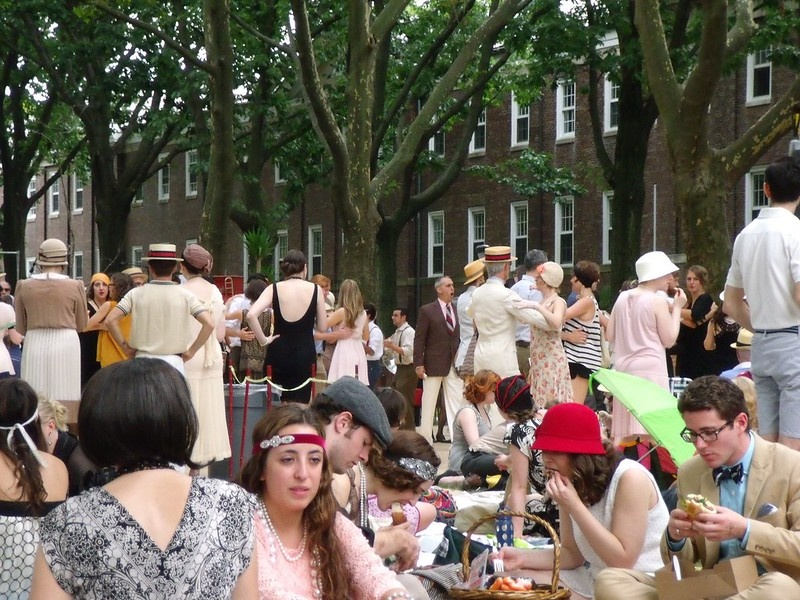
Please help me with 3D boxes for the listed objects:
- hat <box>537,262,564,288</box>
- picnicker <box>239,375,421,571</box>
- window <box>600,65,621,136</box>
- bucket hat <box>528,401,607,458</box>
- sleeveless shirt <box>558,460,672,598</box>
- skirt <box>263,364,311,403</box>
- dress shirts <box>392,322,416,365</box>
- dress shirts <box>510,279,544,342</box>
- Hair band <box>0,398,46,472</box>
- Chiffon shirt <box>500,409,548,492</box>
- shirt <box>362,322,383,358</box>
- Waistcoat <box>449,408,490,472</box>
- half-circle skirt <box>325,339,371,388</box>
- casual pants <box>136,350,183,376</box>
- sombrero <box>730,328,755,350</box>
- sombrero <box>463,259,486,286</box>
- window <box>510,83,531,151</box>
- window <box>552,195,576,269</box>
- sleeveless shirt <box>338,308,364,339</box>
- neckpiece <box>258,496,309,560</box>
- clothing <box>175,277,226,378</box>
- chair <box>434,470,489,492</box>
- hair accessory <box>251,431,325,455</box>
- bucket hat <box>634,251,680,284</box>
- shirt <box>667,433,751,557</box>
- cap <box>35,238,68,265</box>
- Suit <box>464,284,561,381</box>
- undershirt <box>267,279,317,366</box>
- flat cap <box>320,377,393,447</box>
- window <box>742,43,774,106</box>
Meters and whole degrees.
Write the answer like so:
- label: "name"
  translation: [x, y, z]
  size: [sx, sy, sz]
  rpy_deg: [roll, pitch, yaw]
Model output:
- label: "hat"
  translation: [1.828, -0.262, 17.552]
  size: [0.314, 0.257, 0.162]
  rpy_deg: [37, -32, -25]
- label: "picnicker"
  translation: [-0.339, 1.531, 12.550]
  size: [1.249, 1.479, 1.068]
  rpy_deg: [21, -15, -34]
- label: "window"
  translation: [5.363, -4.896, 37.123]
  size: [0.377, 1.524, 0.944]
  rpy_deg: [-2, -4, 10]
- label: "bucket hat"
  translation: [1.461, 1.130, 12.455]
  size: [0.492, 0.277, 0.410]
  rpy_deg: [14, -4, -26]
- label: "sleeveless shirt"
  translation: [1.894, 2.120, 13.163]
  size: [0.992, 1.511, 1.308]
  rpy_deg: [2, -5, -9]
- label: "skirt"
  translation: [-1.408, 1.008, 17.630]
  size: [0.398, 0.580, 0.303]
  rpy_deg: [2, 3, 2]
- label: "dress shirts"
  translation: [0.054, 0.648, 21.784]
  size: [0.403, 0.732, 0.769]
  rpy_deg: [1, -1, -3]
- label: "dress shirts"
  translation: [1.555, 0.118, 17.805]
  size: [0.244, 0.688, 0.704]
  rpy_deg: [-5, 7, -22]
- label: "Hair band"
  translation: [-3.259, 1.186, 12.391]
  size: [0.319, 0.498, 0.134]
  rpy_deg: [-26, -5, -12]
- label: "Chiffon shirt"
  translation: [1.152, 1.520, 14.102]
  size: [0.463, 0.638, 0.647]
  rpy_deg: [-3, 4, 15]
- label: "shirt"
  translation: [-0.421, 0.640, 21.525]
  size: [0.335, 0.590, 0.700]
  rpy_deg: [-4, 1, -11]
- label: "Waistcoat"
  translation: [0.911, 1.503, 16.120]
  size: [0.364, 0.592, 0.395]
  rpy_deg: [21, 22, 22]
- label: "half-circle skirt"
  translation: [-0.736, 0.832, 19.420]
  size: [0.681, 0.821, 0.541]
  rpy_deg: [3, -9, -14]
- label: "casual pants"
  translation: [-2.107, 0.539, 12.508]
  size: [0.196, 0.227, 0.207]
  rpy_deg: [1, 3, 7]
- label: "sombrero"
  translation: [3.830, 0.442, 16.088]
  size: [0.225, 0.103, 0.267]
  rpy_deg: [6, 5, 38]
- label: "sombrero"
  translation: [1.006, -0.389, 18.794]
  size: [0.265, 0.125, 0.313]
  rpy_deg: [-25, 11, 40]
- label: "window"
  translation: [3.337, -4.971, 39.525]
  size: [0.571, 1.602, 0.154]
  rpy_deg: [-2, -2, 38]
- label: "window"
  translation: [4.372, -1.775, 38.140]
  size: [0.509, 1.726, 0.123]
  rpy_deg: [-5, 13, -23]
- label: "sleeveless shirt"
  translation: [-0.683, 0.299, 19.082]
  size: [0.350, 0.374, 0.200]
  rpy_deg: [2, -5, -23]
- label: "neckpiece"
  translation: [-0.952, 1.823, 11.491]
  size: [0.090, 0.466, 0.337]
  rpy_deg: [-21, 3, 38]
- label: "clothing"
  translation: [-2.301, 0.335, 16.385]
  size: [0.505, 0.973, 0.776]
  rpy_deg: [-1, -3, 42]
- label: "chair"
  translation: [0.674, 1.974, 15.824]
  size: [0.358, 0.145, 0.269]
  rpy_deg: [5, -9, 7]
- label: "hair accessory"
  translation: [-0.889, 1.127, 11.433]
  size: [0.541, 0.149, 0.141]
  rpy_deg: [-1, -4, -10]
- label: "bucket hat"
  translation: [2.853, -0.379, 16.104]
  size: [0.374, 0.212, 0.352]
  rpy_deg: [-25, 9, -25]
- label: "shirt"
  translation: [2.622, 1.687, 12.207]
  size: [0.709, 1.027, 0.322]
  rpy_deg: [6, 0, 39]
- label: "cap"
  translation: [-4.109, -0.557, 16.921]
  size: [0.321, 0.230, 0.291]
  rpy_deg: [-4, -4, 39]
- label: "Suit"
  translation: [1.350, 0.382, 17.542]
  size: [0.815, 1.523, 0.454]
  rpy_deg: [12, 28, 37]
- label: "undershirt"
  translation: [-1.343, 0.435, 17.971]
  size: [0.640, 1.229, 0.538]
  rpy_deg: [2, -15, 13]
- label: "flat cap"
  translation: [-0.352, 0.998, 12.547]
  size: [0.618, 0.327, 0.443]
  rpy_deg: [35, 2, -14]
- label: "window"
  translation: [8.258, -5.098, 33.365]
  size: [0.551, 1.321, 0.627]
  rpy_deg: [-2, -4, 5]
